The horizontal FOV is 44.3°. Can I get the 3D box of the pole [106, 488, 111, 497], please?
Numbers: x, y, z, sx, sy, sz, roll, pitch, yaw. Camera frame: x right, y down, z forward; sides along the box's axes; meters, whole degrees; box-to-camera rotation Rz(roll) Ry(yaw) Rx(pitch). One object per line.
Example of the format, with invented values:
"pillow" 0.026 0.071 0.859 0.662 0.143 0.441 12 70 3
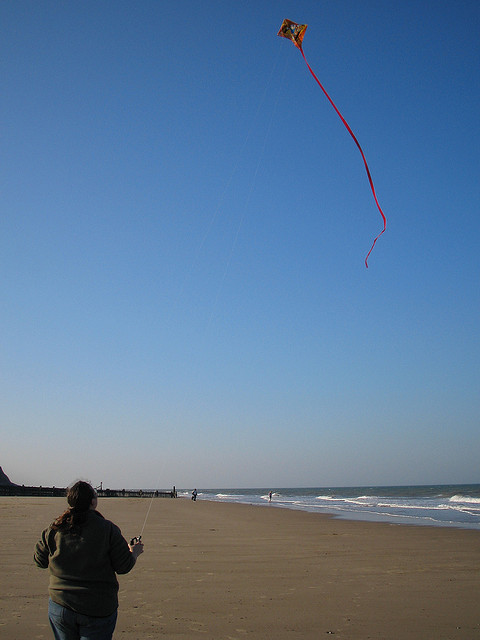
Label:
"pole" -9.656 12.690 43.270 0.319 0.445 0.700 4 -12 0
